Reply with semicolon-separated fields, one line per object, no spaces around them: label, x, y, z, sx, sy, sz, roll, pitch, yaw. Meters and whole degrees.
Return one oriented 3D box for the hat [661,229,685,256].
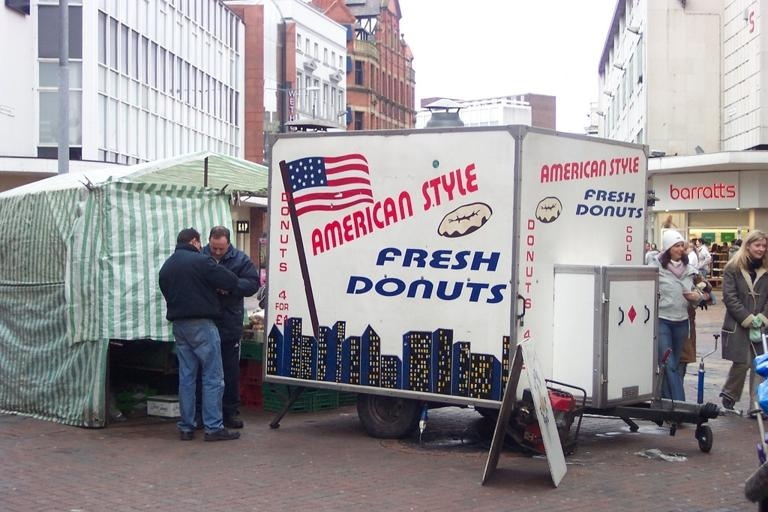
hat;4.245;-0.215;14.088;0.300;0.343;0.512;2;5;16

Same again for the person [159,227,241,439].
person;-2.509;1.068;12.980;1.005;2.833;0.472;0;5;-7

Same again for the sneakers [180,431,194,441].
sneakers;-2.670;2.438;12.991;0.082;0.111;0.235;1;2;10

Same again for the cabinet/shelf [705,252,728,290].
cabinet/shelf;13.092;0.592;37.105;0.477;1.389;1.500;4;2;9

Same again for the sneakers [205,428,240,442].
sneakers;-2.213;2.399;13.047;0.506;0.229;0.183;-1;1;-20

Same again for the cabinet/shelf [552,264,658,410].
cabinet/shelf;2.764;1.037;12.241;0.997;1.838;1.766;-1;-1;40

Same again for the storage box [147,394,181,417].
storage box;-3.294;2.167;14.279;0.383;0.228;0.440;2;-1;-19

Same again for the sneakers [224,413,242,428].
sneakers;-2.141;2.350;13.636;0.299;0.158;0.121;2;0;-5
